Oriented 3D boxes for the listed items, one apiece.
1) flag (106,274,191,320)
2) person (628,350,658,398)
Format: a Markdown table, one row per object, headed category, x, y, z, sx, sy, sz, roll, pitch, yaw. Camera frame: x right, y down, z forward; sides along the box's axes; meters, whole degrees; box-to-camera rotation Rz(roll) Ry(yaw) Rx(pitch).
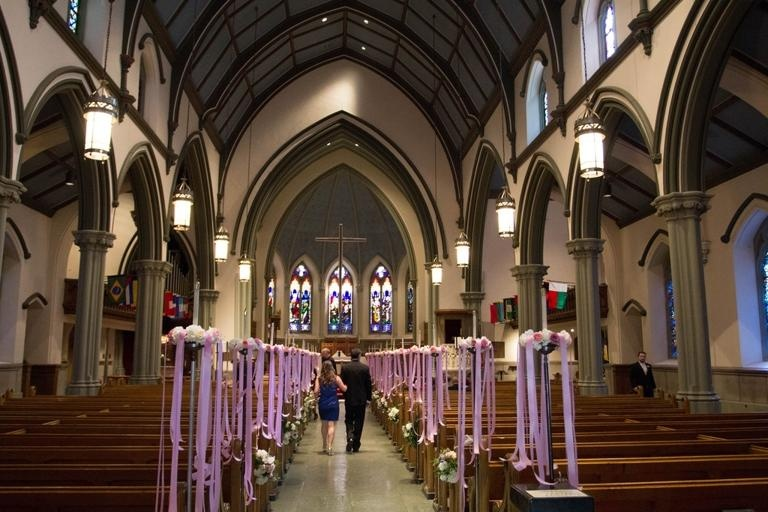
| category | x | y | z | sx | sy | sz | roll | pitch | yaw |
| --- | --- | --- | --- | --- | --- | --- | --- | --- | --- |
| flag | -7.055 | 1.550 | 18.657 | 2.047 | 1.077 | 5.361 | 1 | -15 | -12 |
| person | 6.117 | 3.031 | 14.696 | 0.468 | 1.585 | 0.361 | -9 | 12 | 10 |
